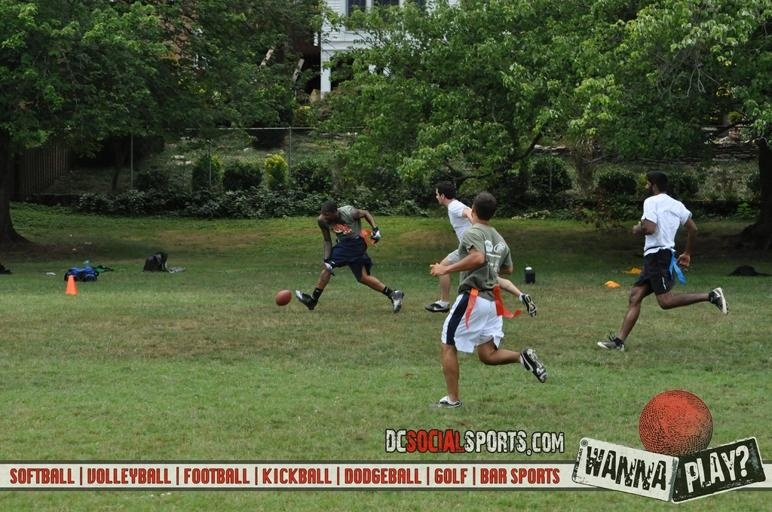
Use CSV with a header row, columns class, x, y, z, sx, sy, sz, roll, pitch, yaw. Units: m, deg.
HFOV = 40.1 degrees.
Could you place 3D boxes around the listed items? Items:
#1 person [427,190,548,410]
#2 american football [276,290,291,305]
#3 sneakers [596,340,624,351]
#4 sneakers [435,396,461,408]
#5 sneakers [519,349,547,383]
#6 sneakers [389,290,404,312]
class,x,y,z,sx,sy,sz,roll,pitch,yaw
person,1.481,0.669,16.090,1.525,3.251,0.854,0,2,1
american football,-2.010,0.842,21.197,0.342,0.240,0.241,-22,-24,-12
sneakers,3.908,1.563,18.366,0.482,0.187,0.166,5,-4,9
sneakers,0.969,2.244,16.179,0.384,0.152,0.154,2,1,11
sneakers,2.304,1.739,16.491,0.215,0.572,0.264,-43,3,-26
sneakers,0.218,0.887,21.020,0.263,0.463,0.182,1,19,6
